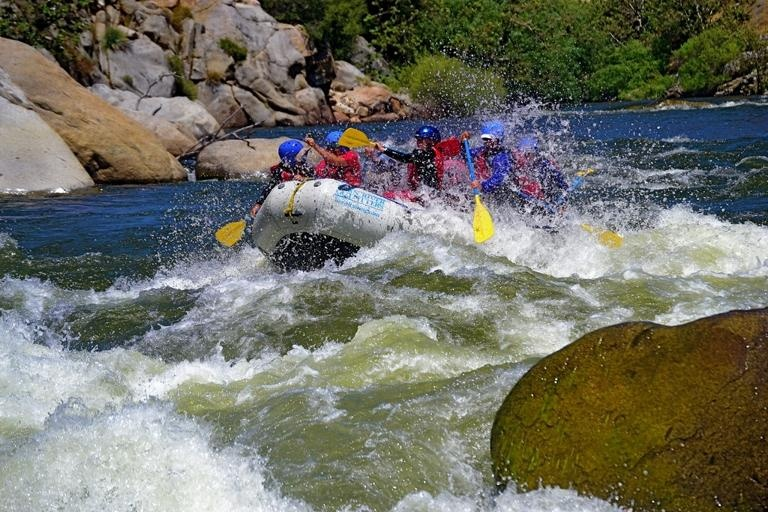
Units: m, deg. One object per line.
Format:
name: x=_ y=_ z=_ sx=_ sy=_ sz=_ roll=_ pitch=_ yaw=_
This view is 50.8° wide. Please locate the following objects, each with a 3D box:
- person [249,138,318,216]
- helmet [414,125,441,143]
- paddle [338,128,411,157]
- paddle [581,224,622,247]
person: x=-1.707 y=-1.291 z=13.757 sx=0.614 sy=1.677 sz=1.525 roll=12 pitch=30 yaw=19
helmet: x=0.759 y=-1.983 z=13.352 sx=0.392 sy=0.303 sz=0.279 roll=-22 pitch=22 yaw=-7
paddle: x=-0.132 y=-1.817 z=13.228 sx=1.371 sy=0.425 sz=0.186 roll=12 pitch=27 yaw=-37
paddle: x=3.302 y=-0.275 z=12.107 sx=0.293 sy=0.110 sz=0.486 roll=-23 pitch=27 yaw=-27
